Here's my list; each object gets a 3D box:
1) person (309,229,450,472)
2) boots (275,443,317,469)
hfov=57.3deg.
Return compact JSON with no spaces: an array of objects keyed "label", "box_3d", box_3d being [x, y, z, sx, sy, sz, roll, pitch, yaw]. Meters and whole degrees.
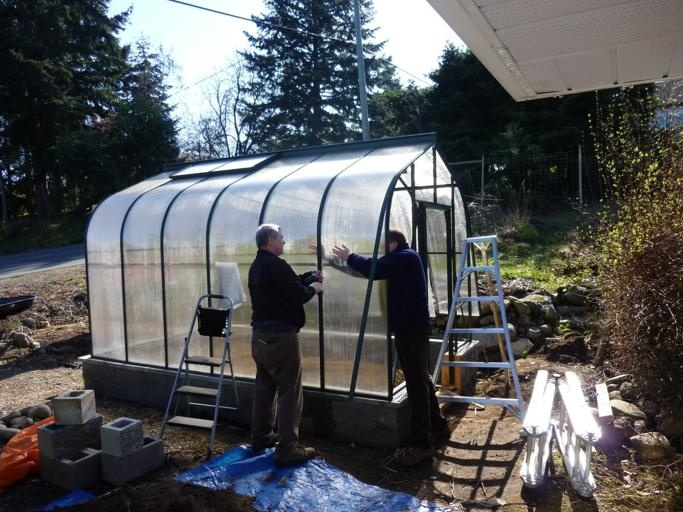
[{"label":"person","box_3d":[0.725,1.172,8.232,1.114,3.012,0.707,-2,2,8]},{"label":"boots","box_3d":[-0.543,2.486,7.884,0.514,0.269,0.213,-5,6,-26]}]
